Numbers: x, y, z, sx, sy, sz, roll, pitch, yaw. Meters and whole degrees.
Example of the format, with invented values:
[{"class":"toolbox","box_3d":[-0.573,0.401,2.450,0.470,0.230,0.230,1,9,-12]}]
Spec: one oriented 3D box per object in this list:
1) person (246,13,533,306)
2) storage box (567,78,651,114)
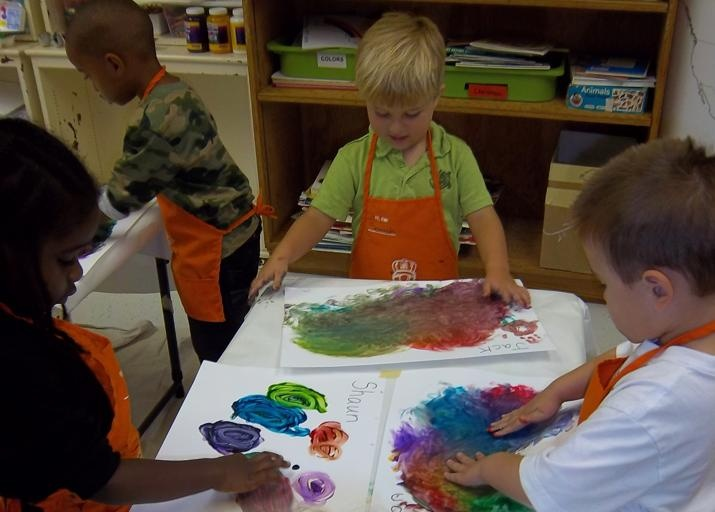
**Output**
[{"class":"person","box_3d":[0.132,-0.094,1.533,0.723,1.081,0.527,3,20,15]},{"class":"storage box","box_3d":[0.913,-0.583,2.001,0.266,0.105,0.031,8,27,13]}]
